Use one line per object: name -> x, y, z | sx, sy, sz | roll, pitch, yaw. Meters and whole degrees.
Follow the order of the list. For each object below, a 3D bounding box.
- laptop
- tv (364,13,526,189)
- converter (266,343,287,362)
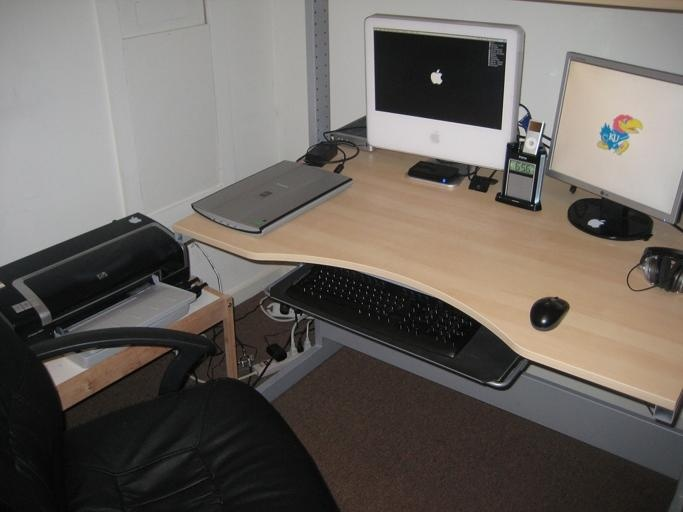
laptop -> -0.237, -0.217, 1.864 | 0.291, 0.056, 0.398 | 21, 40, 33
tv -> 0.365, -0.539, 1.869 | 0.560, 0.500, 0.185 | 15, 38, 23
converter -> -0.304, 0.439, 2.435 | 0.097, 0.044, 0.075 | 27, 41, 34
